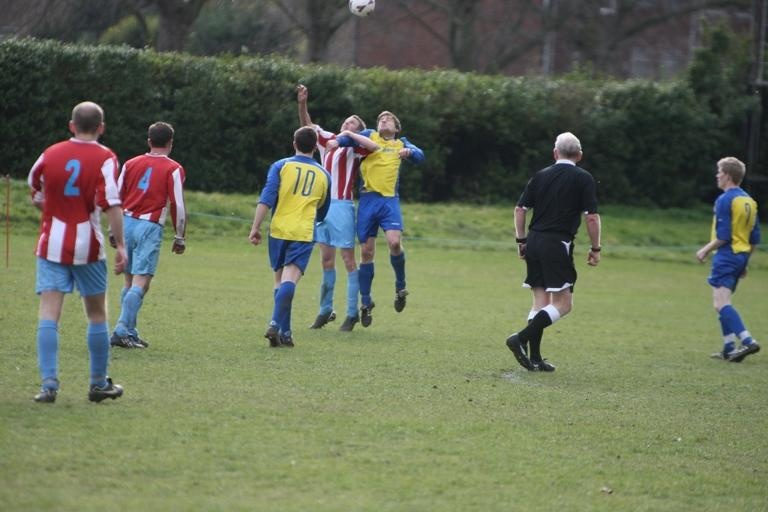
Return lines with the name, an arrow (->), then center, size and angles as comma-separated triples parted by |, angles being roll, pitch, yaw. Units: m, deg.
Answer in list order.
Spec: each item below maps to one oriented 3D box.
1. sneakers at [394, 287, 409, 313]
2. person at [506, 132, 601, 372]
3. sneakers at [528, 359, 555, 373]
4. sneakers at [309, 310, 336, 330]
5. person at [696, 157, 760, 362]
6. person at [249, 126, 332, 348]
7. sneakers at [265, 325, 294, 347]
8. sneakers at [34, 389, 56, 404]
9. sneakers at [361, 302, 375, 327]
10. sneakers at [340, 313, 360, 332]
sneakers -> 0.269, 0.810, 25.067 | 0.225, 0.425, 0.193 | 3, 27, -2
person -> 2.755, -0.052, 23.182 | 1.353, 3.905, 0.914 | 5, 4, 5
sneakers -> 2.537, 1.837, 23.035 | 0.477, 0.197, 0.172 | 1, 2, -11
sneakers -> -1.130, 1.145, 24.610 | 0.539, 0.226, 0.203 | -32, 13, -19
person -> 5.898, 0.070, 24.000 | 0.978, 3.414, 0.854 | 5, 4, 14
person -> -1.614, -0.306, 23.383 | 1.269, 3.661, 0.577 | 4, 4, -10
sneakers -> -1.800, 1.379, 23.290 | 0.227, 0.276, 0.619 | 0, -3, 25
sneakers -> -5.191, 2.146, 21.326 | 0.289, 0.197, 0.119 | 4, -32, -9
sneakers -> -0.371, 1.042, 24.594 | 0.173, 0.462, 0.243 | 3, 2, 29
sneakers -> -0.662, 1.185, 24.525 | 0.186, 0.151, 0.363 | 6, 23, 26
